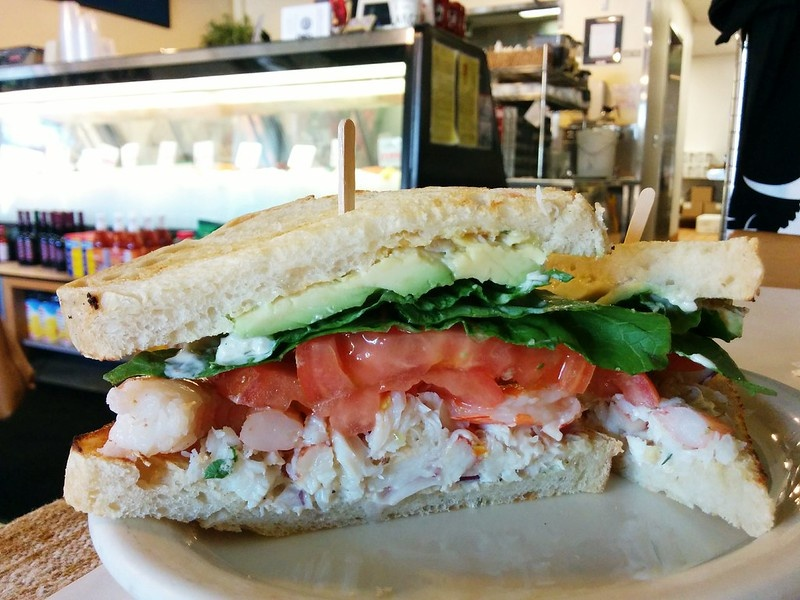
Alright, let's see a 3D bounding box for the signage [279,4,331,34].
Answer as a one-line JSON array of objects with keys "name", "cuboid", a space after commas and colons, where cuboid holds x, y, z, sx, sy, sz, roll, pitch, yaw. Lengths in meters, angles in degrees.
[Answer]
[{"name": "signage", "cuboid": [-0.426, -1.291, 3.165, 0.229, 0.125, 0.022, 6, 8, 41]}]
